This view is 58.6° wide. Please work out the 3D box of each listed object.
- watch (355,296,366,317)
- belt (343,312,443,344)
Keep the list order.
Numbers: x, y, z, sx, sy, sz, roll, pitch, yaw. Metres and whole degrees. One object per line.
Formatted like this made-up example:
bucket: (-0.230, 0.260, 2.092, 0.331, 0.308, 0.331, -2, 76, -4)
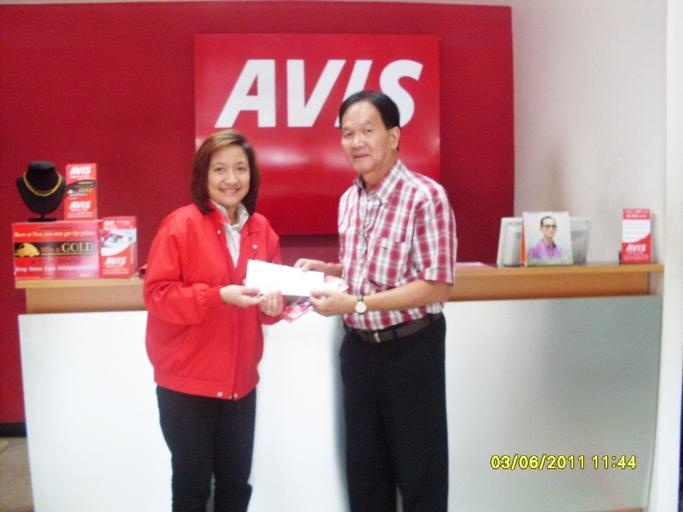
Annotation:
watch: (0.097, 0.238, 2.907, 0.053, 0.072, 0.066, 0, 9, -2)
belt: (0.296, 0.364, 3.030, 0.380, 0.141, 0.065, -2, 2, 3)
